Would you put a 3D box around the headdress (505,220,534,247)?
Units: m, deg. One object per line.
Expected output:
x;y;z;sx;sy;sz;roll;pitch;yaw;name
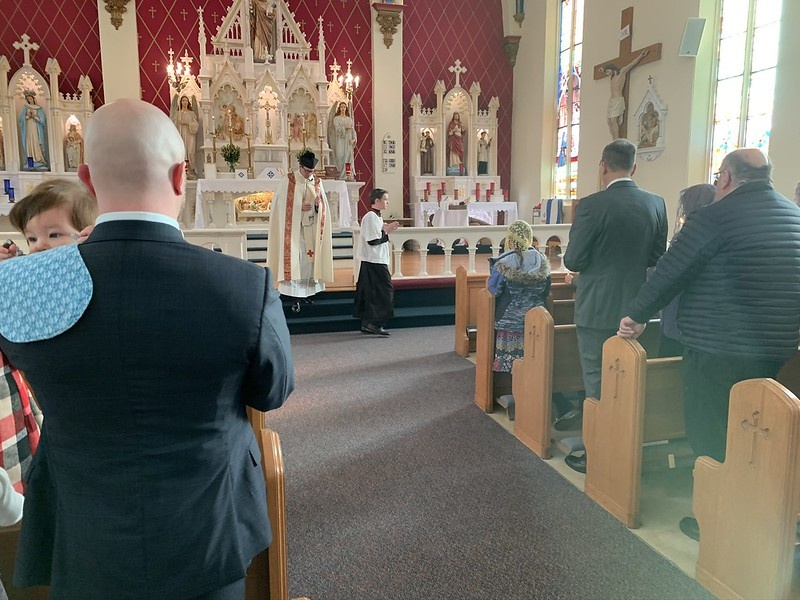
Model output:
0.828;-0.453;4.743;0.143;0.207;0.197;5;0;5;headdress

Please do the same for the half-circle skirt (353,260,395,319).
-0.297;-0.084;7.298;0.294;0.609;0.391;3;12;-26;half-circle skirt

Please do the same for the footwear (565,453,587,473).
1.038;0.953;3.998;0.065;0.132;0.130;-4;20;-13;footwear

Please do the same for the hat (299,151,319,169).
-0.954;-1.428;6.935;0.150;0.196;0.397;-3;14;-4;hat

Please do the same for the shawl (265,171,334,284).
-1.176;-0.738;7.599;0.616;1.316;0.515;0;13;-24;shawl

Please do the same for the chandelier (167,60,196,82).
-3.611;-3.708;11.113;0.374;0.434;0.883;-6;14;-15;chandelier
